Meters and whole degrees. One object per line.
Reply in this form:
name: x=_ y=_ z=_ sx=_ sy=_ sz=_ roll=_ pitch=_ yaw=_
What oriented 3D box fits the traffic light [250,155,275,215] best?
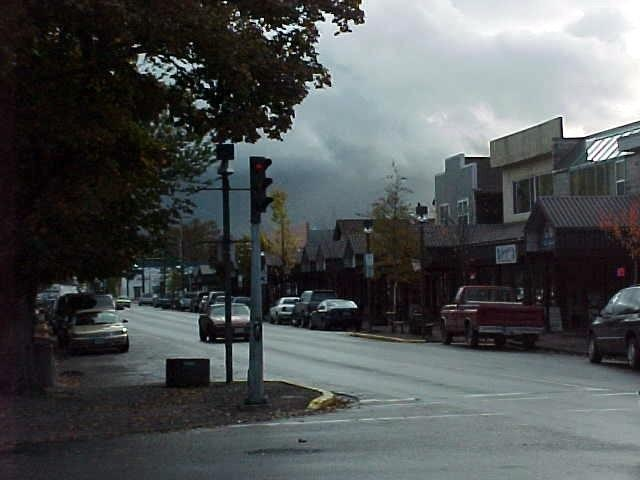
traffic light: x=-1.198 y=-1.128 z=18.884 sx=0.421 sy=1.214 sz=0.475 roll=1 pitch=-5 yaw=-6

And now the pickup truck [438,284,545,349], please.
pickup truck: x=6.229 y=2.781 z=33.845 sx=2.138 sy=2.345 sz=4.404 roll=2 pitch=-7 yaw=-12
